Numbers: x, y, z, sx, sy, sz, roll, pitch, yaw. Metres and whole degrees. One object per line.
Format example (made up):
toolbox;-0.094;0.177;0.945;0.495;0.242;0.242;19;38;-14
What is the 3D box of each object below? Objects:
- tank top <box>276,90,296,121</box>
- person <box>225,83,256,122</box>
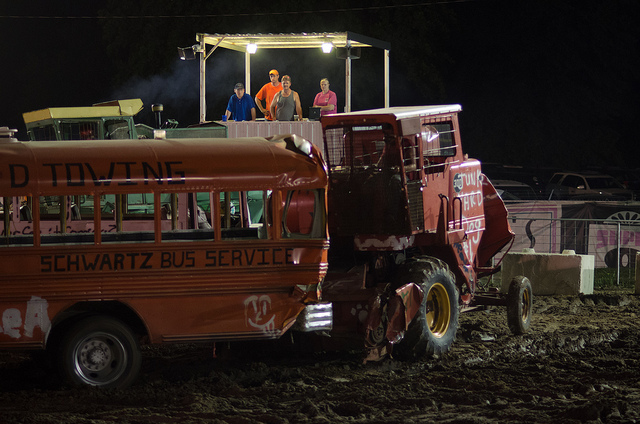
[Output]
tank top;-0.997;-3.029;22.141;0.566;0.822;0.388;-1;10;-2
person;-2.375;-3.021;22.656;0.861;1.347;0.656;-8;14;-17
